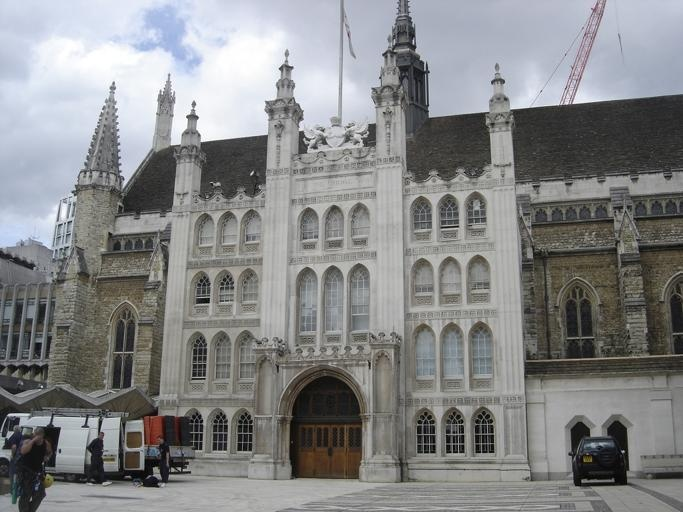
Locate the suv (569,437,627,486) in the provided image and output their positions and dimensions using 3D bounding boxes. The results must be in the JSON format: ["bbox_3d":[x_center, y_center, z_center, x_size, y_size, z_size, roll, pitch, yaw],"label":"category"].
[{"bbox_3d":[10.008,7.820,30.310,1.394,1.145,2.413,-1,-11,9],"label":"suv"}]

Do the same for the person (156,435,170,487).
[{"bbox_3d":[-7.557,8.733,33.491,0.503,1.987,1.247,3,-14,-13],"label":"person"}]

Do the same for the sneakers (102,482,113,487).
[{"bbox_3d":[-9.626,9.318,32.053,0.363,0.145,0.209,-7,-6,25],"label":"sneakers"}]

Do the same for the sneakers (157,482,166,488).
[{"bbox_3d":[-7.455,9.504,32.633,0.297,0.157,0.468,3,-6,-16],"label":"sneakers"}]

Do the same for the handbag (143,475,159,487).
[{"bbox_3d":[-7.858,9.309,32.460,0.775,0.392,0.548,-1,-14,4],"label":"handbag"}]
